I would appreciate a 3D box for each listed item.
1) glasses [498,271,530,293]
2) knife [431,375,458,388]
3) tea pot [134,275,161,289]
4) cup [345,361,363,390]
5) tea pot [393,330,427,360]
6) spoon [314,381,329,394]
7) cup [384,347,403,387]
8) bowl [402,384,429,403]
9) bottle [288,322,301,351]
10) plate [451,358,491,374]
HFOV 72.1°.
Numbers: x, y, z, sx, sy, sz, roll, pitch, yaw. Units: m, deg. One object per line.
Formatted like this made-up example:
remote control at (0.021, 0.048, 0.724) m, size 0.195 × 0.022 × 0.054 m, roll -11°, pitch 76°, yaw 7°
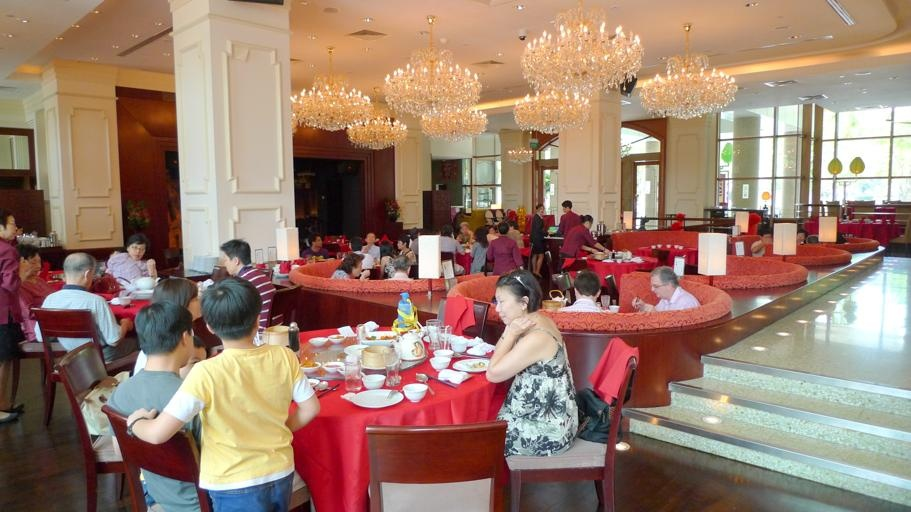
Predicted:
glasses at (0.571, 0.262, 6.178) m, size 0.246 × 0.260 × 0.195 m, roll -8°, pitch 30°, yaw 6°
knife at (-0.131, 1.241, 6.196) m, size 0.301 × 0.049 × 0.078 m, roll 5°, pitch 52°, yaw 23°
tea pot at (-3.982, 0.345, 8.176) m, size 0.245 × 0.133 × 0.217 m, roll 1°, pitch -3°, yaw -41°
cup at (-0.988, 1.158, 6.074) m, size 0.174 × 0.286 × 0.145 m, roll -4°, pitch 5°, yaw -12°
tea pot at (-0.494, 0.957, 6.559) m, size 0.235 × 0.200 × 0.309 m, roll 0°, pitch -6°, yaw -44°
spoon at (-1.286, 1.267, 6.055) m, size 0.137 × 0.097 × 0.113 m, roll -7°, pitch 7°, yaw -38°
cup at (-0.588, 1.080, 6.187) m, size 0.128 × 0.381 × 0.263 m, roll 0°, pitch 6°, yaw 25°
bowl at (-0.377, 1.301, 5.926) m, size 0.187 × 0.091 × 0.181 m, roll -2°, pitch -10°, yaw 0°
bottle at (-1.667, 0.863, 6.489) m, size 0.100 × 0.273 × 0.440 m, roll -4°, pitch 5°, yaw -13°
plate at (0.149, 1.123, 6.397) m, size 0.349 × 0.096 × 0.253 m, roll -1°, pitch 5°, yaw 15°
